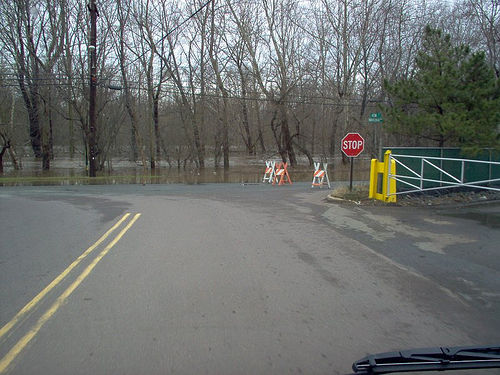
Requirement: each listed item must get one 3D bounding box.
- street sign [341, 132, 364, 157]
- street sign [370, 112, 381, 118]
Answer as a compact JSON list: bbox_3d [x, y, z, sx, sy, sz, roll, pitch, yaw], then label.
[{"bbox_3d":[4.728,-1.932,19.620,1.022,1.354,0.137,1,-31,17],"label":"street sign"},{"bbox_3d":[7.158,-4.131,24.331,0.502,0.268,1.212,3,9,14],"label":"street sign"}]
